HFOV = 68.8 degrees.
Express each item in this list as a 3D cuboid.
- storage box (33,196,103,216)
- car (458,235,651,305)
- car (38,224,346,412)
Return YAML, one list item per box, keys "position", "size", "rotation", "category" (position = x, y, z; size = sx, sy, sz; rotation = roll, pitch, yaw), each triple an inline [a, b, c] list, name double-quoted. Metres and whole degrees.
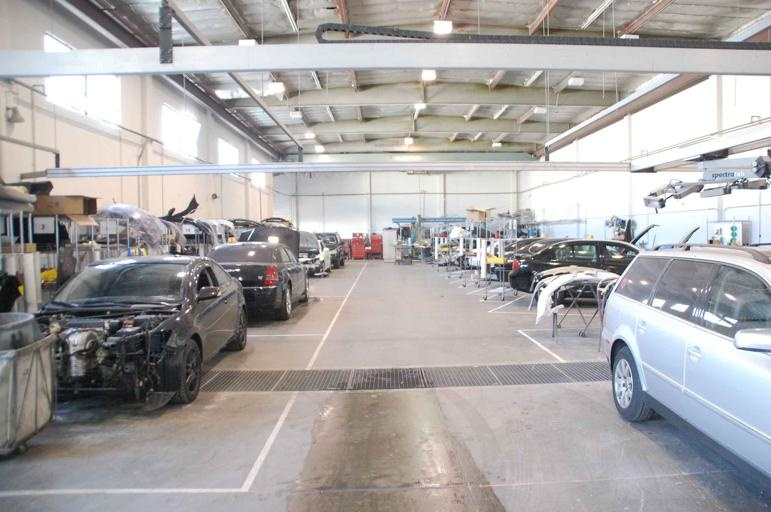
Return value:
- position: [-6.747, -1.074, 11.860]
  size: [1.141, 0.426, 0.518]
  rotation: [-3, 4, -33]
  category: "storage box"
- position: [4.438, 0.293, 13.281]
  size: [2.964, 0.955, 1.349]
  rotation: [-2, 2, -4]
  category: "car"
- position: [-3.336, 1.004, 7.875]
  size: [2.601, 1.937, 1.674]
  rotation: [-3, 4, -32]
  category: "car"
